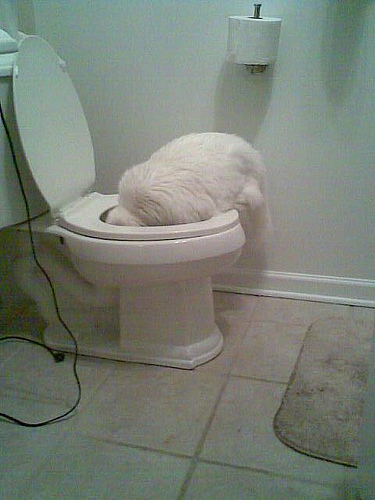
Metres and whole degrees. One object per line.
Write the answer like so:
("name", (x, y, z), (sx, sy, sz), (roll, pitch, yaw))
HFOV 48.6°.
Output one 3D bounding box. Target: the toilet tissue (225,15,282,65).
("toilet tissue", (0.176, -0.576, 1.095), (0.135, 0.116, 0.152), (16, 51, 14))
